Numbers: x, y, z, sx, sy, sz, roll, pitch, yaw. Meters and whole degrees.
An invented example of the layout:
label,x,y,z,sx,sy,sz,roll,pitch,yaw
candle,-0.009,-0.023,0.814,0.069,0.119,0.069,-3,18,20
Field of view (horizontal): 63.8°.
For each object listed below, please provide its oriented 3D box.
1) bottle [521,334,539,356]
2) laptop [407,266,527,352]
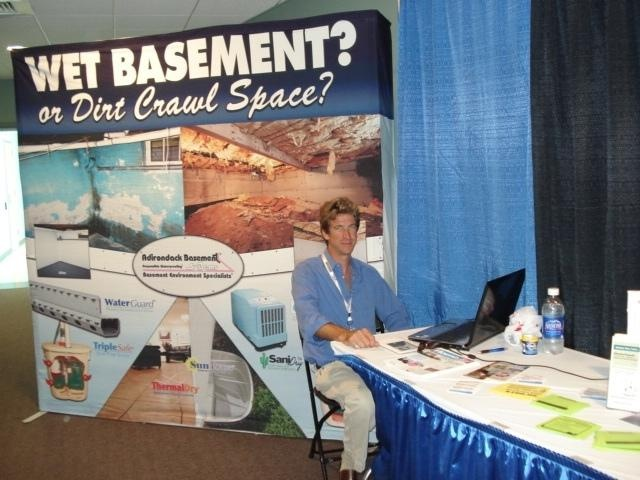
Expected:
label,x,y,z,sx,sy,sz,roll,pitch,yaw
bottle,0.979,0.492,2.397,0.092,0.087,0.086,0,-5,-2
laptop,0.784,0.340,2.694,0.449,0.322,0.578,0,5,45
